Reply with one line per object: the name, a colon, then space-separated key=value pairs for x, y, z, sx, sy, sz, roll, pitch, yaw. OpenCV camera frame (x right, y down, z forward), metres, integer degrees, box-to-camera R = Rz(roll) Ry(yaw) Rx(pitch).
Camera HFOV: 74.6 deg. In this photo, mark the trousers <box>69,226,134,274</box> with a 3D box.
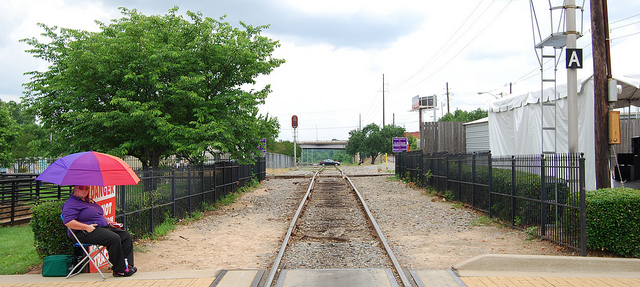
trousers: x=-9.377 y=4.653 z=19.136 sx=2.645 sy=2.765 sz=2.016 roll=-3 pitch=-7 yaw=-1
